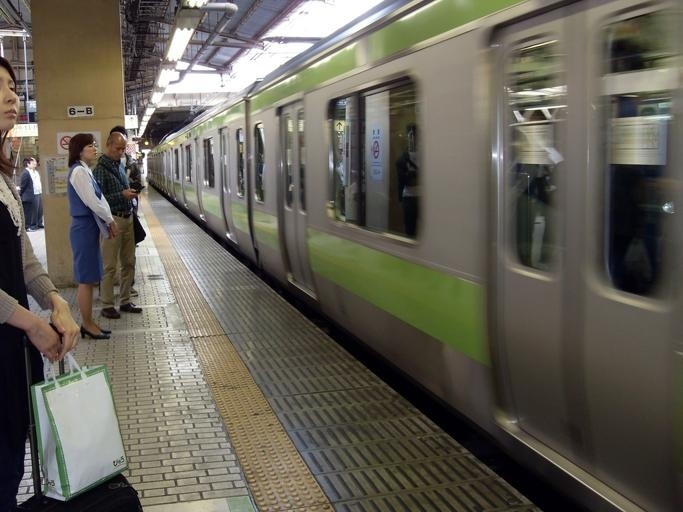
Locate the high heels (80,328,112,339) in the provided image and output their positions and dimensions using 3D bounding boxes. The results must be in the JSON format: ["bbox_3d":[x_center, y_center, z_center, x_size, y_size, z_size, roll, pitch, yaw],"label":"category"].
[{"bbox_3d":[-2.842,0.905,5.134,0.292,0.124,0.163,-7,11,-14],"label":"high heels"}]

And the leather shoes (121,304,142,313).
[{"bbox_3d":[-2.846,0.703,6.041,0.311,0.131,0.106,-1,7,-14],"label":"leather shoes"}]

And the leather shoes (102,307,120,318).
[{"bbox_3d":[-2.987,0.734,5.738,0.301,0.129,0.110,3,7,35],"label":"leather shoes"}]

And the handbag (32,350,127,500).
[{"bbox_3d":[-0.998,0.664,1.683,0.278,0.487,0.160,-11,15,-38],"label":"handbag"}]
